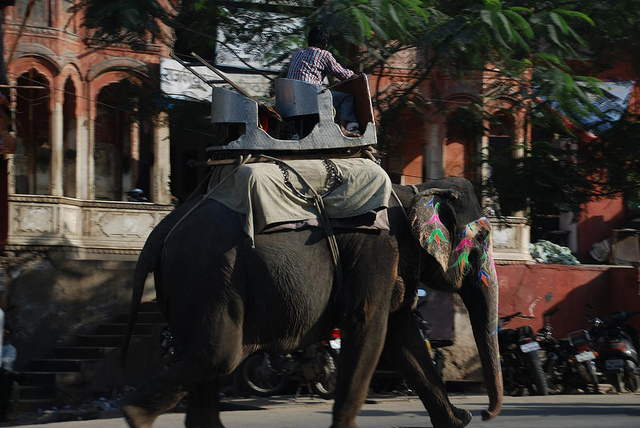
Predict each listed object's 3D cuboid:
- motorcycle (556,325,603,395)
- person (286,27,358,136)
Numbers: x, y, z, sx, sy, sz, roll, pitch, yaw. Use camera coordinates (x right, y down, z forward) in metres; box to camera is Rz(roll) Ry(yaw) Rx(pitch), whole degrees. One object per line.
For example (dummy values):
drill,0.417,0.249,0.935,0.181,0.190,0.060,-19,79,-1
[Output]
motorcycle,5.207,2.619,25.428,1.204,1.079,2.140,-7,-13,13
person,0.090,-1.936,20.349,0.960,1.522,1.087,-9,9,-3
